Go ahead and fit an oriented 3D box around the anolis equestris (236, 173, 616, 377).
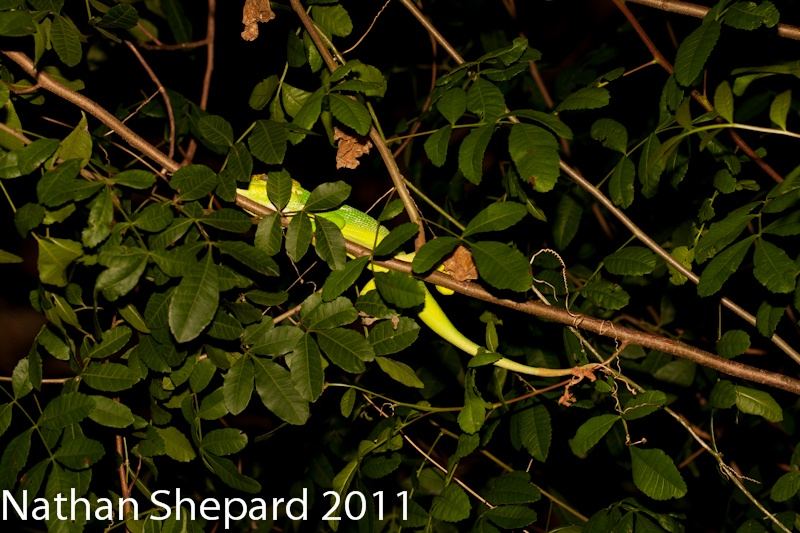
[{"bbox_3d":[0.127,0.055,4.127,1.398,0.375,0.200,33,101,1],"label":"anolis equestris"}]
